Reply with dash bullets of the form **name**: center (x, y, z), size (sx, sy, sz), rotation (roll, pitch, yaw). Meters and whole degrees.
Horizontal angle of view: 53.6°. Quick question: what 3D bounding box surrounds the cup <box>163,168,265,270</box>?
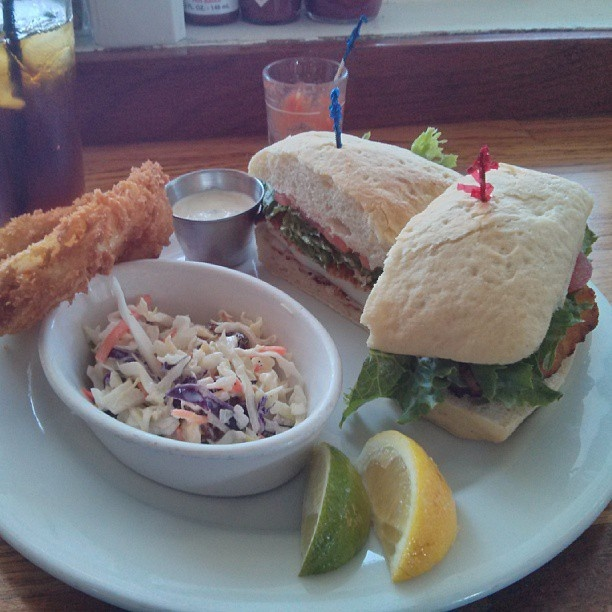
- **cup**: center (-0.288, -0.306, 1.977), size (0.288, 0.234, 0.334), rotation (-1, 35, -4)

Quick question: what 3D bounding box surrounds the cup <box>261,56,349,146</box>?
- **cup**: center (-0.019, -0.778, 2.416), size (0.318, 0.404, 0.368), rotation (-2, 38, -1)

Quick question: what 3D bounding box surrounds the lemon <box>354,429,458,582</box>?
- **lemon**: center (0.210, 0.440, 1.203), size (0.167, 0.159, 0.338), rotation (-16, 42, 6)
